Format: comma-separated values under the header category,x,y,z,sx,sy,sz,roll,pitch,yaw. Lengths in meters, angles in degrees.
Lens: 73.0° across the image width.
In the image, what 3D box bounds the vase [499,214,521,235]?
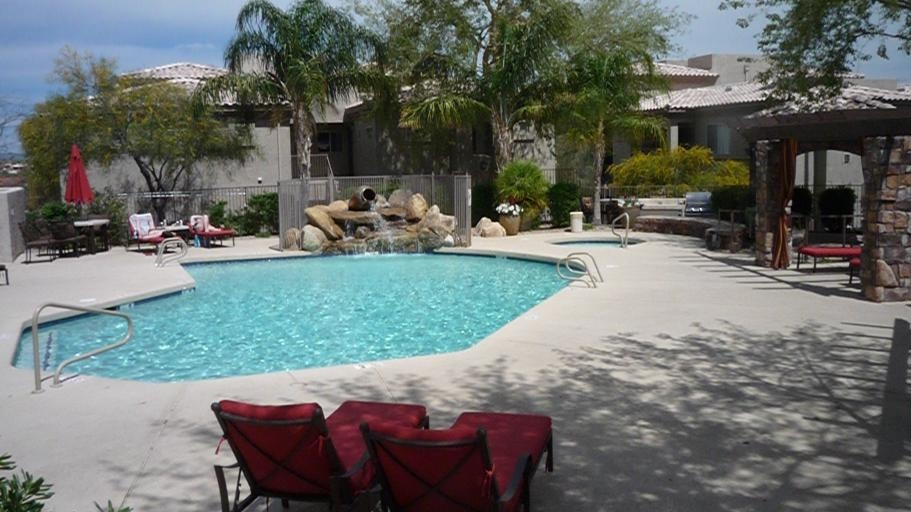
category,x,y,z,sx,sy,sz,roll,pitch,yaw
vase,2.461,-1.344,26.869,0.858,0.878,0.841,-2,2,-25

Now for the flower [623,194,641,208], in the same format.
category,x,y,z,sx,sy,sz,roll,pitch,yaw
flower,8.425,-2.618,29.493,1.238,0.517,1.321,-1,1,5

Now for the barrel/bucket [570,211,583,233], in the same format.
category,x,y,z,sx,sy,sz,roll,pitch,yaw
barrel/bucket,5.246,-1.465,26.754,0.435,0.820,0.429,-3,8,0

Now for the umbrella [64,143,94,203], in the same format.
category,x,y,z,sx,sy,sz,roll,pitch,yaw
umbrella,-13.676,-2.945,22.165,0.769,2.140,1.436,-8,9,-31
